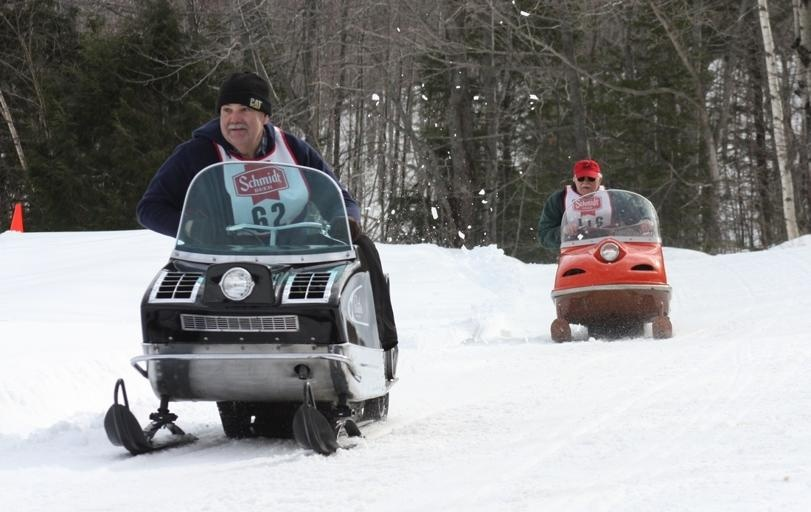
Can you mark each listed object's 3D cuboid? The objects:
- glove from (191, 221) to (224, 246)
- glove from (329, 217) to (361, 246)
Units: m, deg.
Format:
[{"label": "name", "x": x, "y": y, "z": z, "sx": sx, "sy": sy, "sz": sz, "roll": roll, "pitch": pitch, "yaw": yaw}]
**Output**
[{"label": "glove", "x": -3.259, "y": -0.391, "z": 17.644, "sx": 0.533, "sy": 0.391, "sz": 0.100, "roll": -1, "pitch": 9, "yaw": 0}, {"label": "glove", "x": -0.965, "y": -0.439, "z": 17.659, "sx": 0.451, "sy": 0.444, "sz": 0.344, "roll": 8, "pitch": 42, "yaw": 6}]
